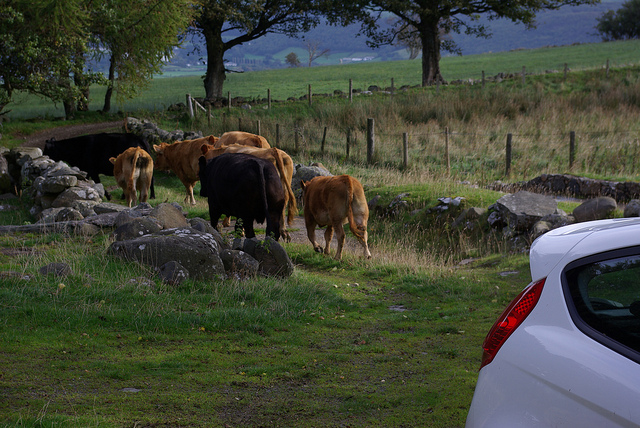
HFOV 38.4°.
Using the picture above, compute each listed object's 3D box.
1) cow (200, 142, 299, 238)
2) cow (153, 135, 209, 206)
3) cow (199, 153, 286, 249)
[{"bbox_3d":[-3.420,-1.062,42.441,2.808,4.153,6.610,4,-4,-34],"label":"cow"},{"bbox_3d":[-7.224,-2.773,49.493,1.860,3.080,4.929,1,2,-41],"label":"cow"},{"bbox_3d":[-4.143,-0.761,43.864,2.503,4.298,7.370,1,7,-36],"label":"cow"}]
